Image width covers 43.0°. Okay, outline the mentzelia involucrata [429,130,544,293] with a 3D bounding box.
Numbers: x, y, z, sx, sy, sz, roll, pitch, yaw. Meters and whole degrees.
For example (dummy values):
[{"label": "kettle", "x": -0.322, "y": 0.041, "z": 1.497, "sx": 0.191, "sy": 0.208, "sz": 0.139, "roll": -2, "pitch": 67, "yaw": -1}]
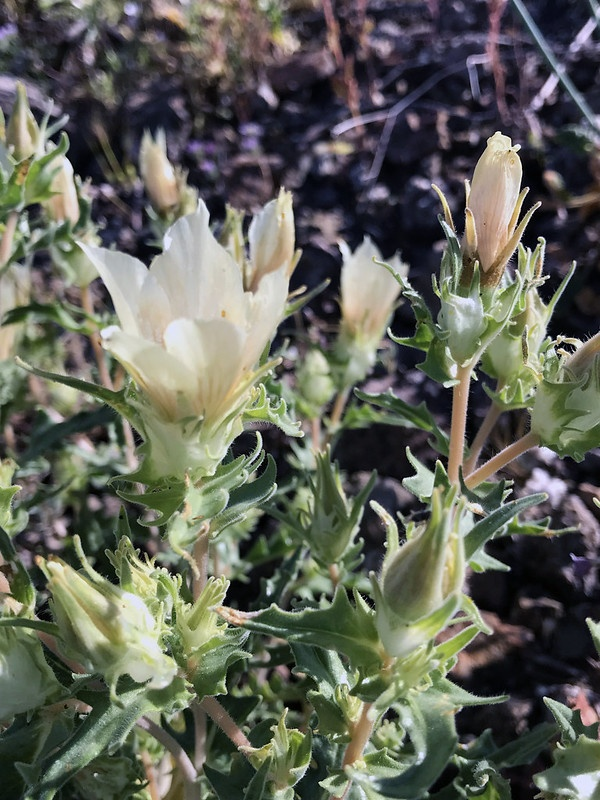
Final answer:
[{"label": "mentzelia involucrata", "x": 0.298, "y": -0.286, "z": 1.160, "sx": 0.107, "sy": 0.180, "sz": 0.191, "roll": 15, "pitch": 53, "yaw": 9}]
